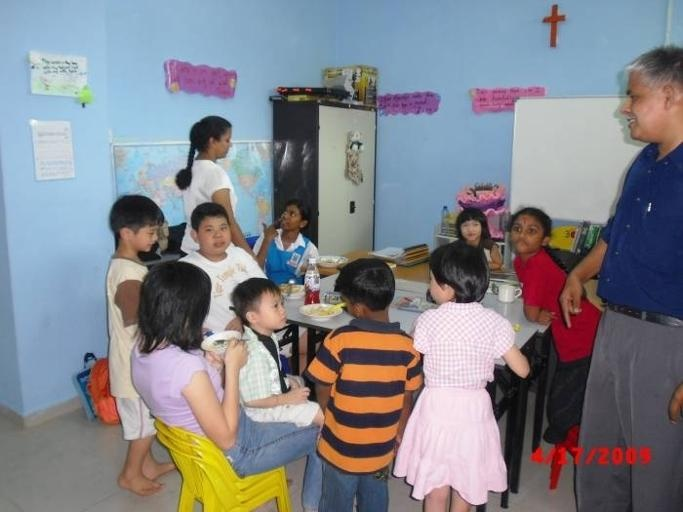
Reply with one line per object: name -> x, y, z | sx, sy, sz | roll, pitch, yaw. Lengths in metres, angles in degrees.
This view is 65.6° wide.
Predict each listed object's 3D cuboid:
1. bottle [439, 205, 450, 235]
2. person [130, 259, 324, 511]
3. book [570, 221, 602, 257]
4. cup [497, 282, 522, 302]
bottle -> 0.962, -0.338, 4.826 | 0.120, 0.219, 0.550 | 0, 12, 11
person -> -0.437, 0.596, 2.101 | 0.699, 1.169, 0.324 | -7, 12, -22
book -> 1.691, -0.119, 3.644 | 0.082, 0.257, 0.191 | 5, 13, -44
cup -> 0.934, 0.203, 2.954 | 0.126, 0.091, 0.092 | 7, 16, 29
